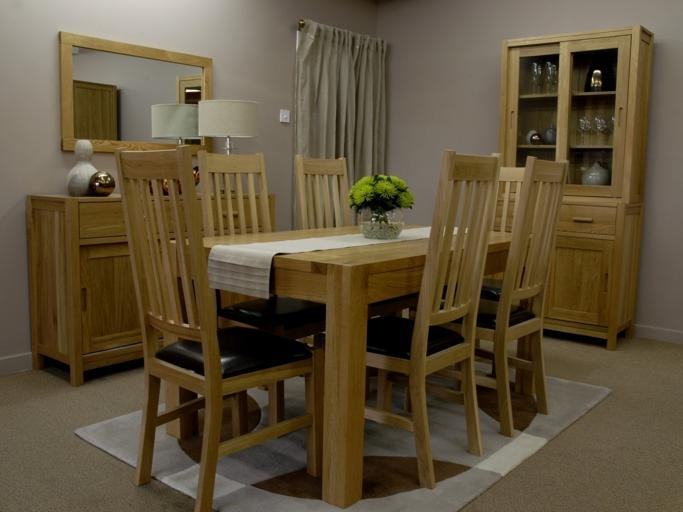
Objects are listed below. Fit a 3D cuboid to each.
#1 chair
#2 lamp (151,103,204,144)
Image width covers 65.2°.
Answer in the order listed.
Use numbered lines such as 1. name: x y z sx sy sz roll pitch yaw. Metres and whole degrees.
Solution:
1. chair: 0.090 0.199 2.423 0.949 1.383 1.789 5 6 42
2. lamp: -1.208 -0.959 3.853 0.256 0.196 0.278 1 3 30
